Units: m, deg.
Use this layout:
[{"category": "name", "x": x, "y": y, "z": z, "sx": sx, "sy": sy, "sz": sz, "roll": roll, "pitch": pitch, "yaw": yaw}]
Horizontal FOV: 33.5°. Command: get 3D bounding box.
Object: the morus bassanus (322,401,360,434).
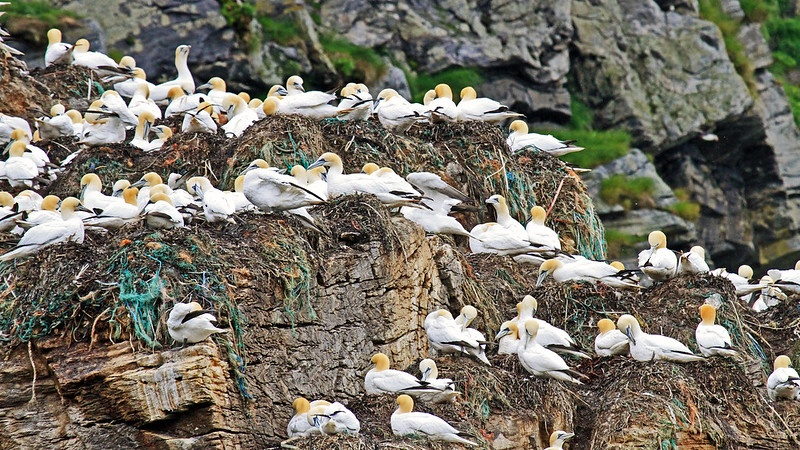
[{"category": "morus bassanus", "x": -1.244, "y": 4.147, "z": 28.356, "sx": 0.752, "sy": 0.457, "sz": 0.628, "roll": -3, "pitch": 37, "yaw": -3}]
